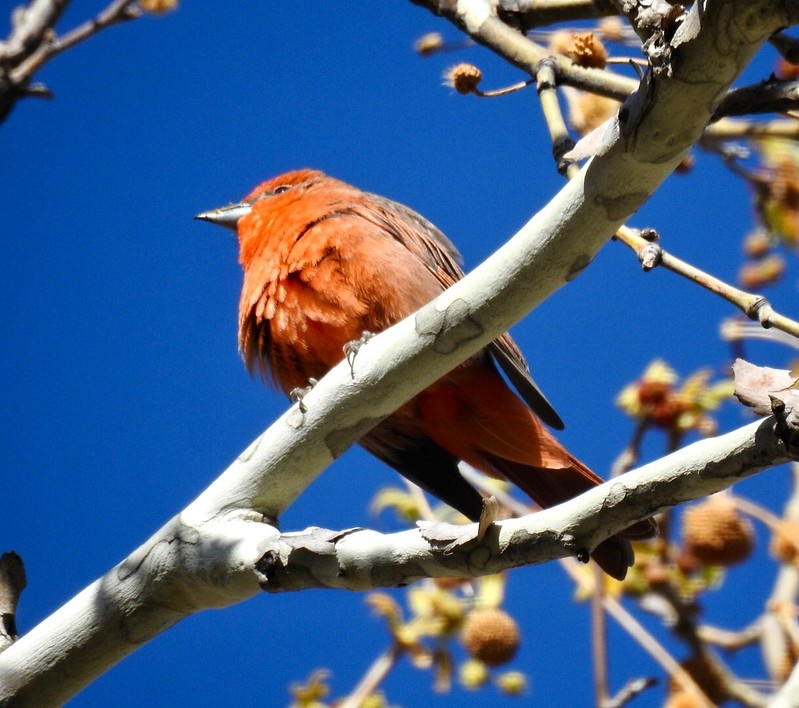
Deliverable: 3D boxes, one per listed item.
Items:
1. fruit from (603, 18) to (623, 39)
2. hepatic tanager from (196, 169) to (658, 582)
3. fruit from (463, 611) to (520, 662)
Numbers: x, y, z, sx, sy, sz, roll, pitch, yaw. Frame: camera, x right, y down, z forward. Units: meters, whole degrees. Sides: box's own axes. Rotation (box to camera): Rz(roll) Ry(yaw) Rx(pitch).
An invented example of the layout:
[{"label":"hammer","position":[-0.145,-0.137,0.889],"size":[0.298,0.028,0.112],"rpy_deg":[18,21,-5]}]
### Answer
[{"label":"fruit","position":[0.655,-1.015,5.775],"size":[0.077,0.058,0.057],"rpy_deg":[9,-10,12]},{"label":"hepatic tanager","position":[0.001,0.080,6.260],"size":[1.148,2.192,0.781],"rpy_deg":[20,-58,-30]},{"label":"fruit","position":[0.284,0.877,5.684],"size":[0.159,0.156,0.155],"rpy_deg":[-3,-50,10]}]
